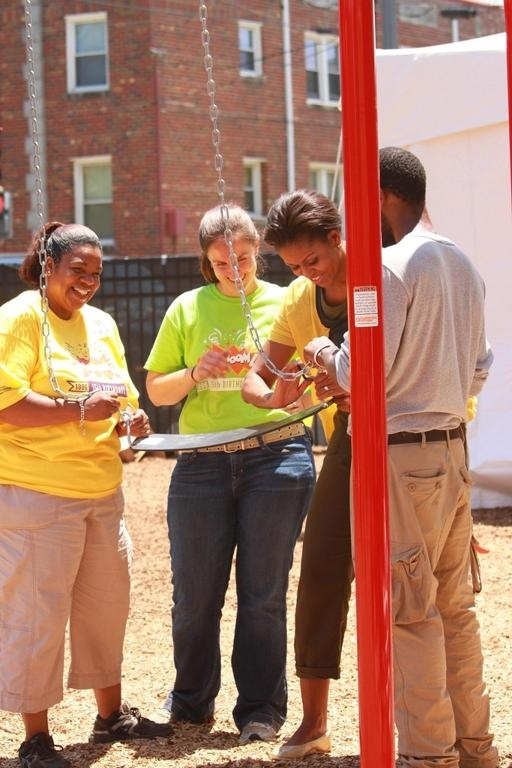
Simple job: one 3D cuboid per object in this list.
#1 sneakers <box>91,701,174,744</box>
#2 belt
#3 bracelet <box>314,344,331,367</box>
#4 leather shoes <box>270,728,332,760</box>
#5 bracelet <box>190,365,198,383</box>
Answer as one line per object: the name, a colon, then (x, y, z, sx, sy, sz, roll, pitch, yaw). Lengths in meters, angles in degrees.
sneakers: (-0.430, 1.164, 3.509, 0.318, 0.118, 0.104, 0, 2, -8)
belt: (-0.065, 0.189, 3.463, 0.479, 0.059, 0.131, -8, 11, -16)
bracelet: (0.178, -0.081, 2.838, 0.060, 0.050, 0.041, -7, -15, -8)
leather shoes: (0.139, 1.123, 3.167, 0.166, 0.054, 0.065, 3, -8, -25)
bracelet: (-0.218, -0.034, 3.484, 0.013, 0.039, 0.045, -1, -1, 10)
